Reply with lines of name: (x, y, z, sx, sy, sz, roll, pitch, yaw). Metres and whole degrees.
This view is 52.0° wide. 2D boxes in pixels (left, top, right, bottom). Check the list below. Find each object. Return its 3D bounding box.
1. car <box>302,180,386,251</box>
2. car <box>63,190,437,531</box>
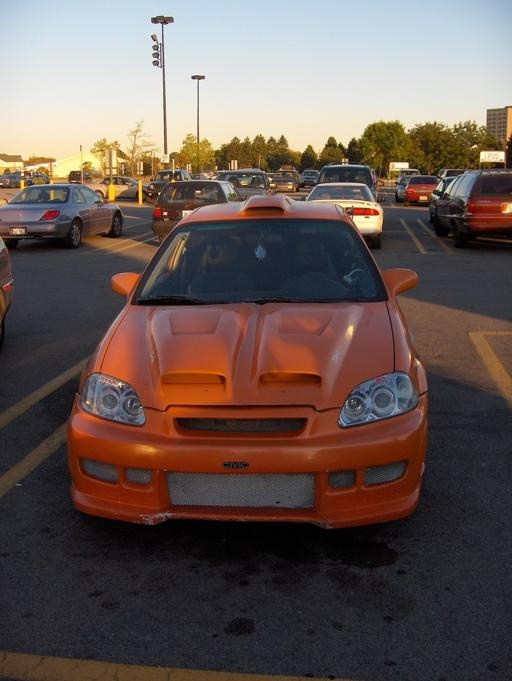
car: (2.641, -3.469, 14.988, 1.879, 1.366, 4.093, 0, 22, 6)
car: (0.038, -0.105, 3.106, 1.314, 0.997, 2.266, -1, 11, 7)
